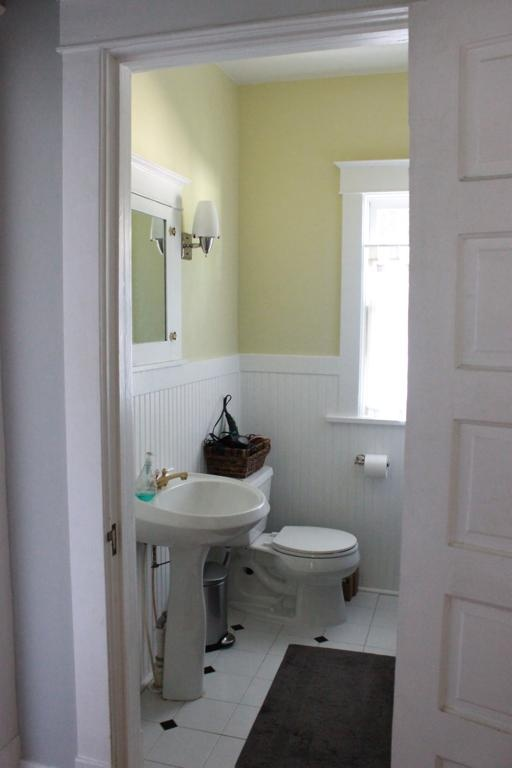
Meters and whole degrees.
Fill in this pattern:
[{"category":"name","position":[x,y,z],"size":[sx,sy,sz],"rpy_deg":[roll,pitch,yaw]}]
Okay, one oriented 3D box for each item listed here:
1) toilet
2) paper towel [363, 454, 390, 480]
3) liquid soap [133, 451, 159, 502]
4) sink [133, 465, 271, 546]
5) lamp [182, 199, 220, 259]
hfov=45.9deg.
[{"category":"toilet","position":[0.238,0.738,3.083],"size":[0.625,1.091,0.465],"rpy_deg":[0,5,19]},{"category":"paper towel","position":[0.597,0.394,2.990],"size":[0.095,0.134,0.095],"rpy_deg":[-1,-1,15]},{"category":"liquid soap","position":[-0.383,0.314,2.093],"size":[0.070,0.158,0.182],"rpy_deg":[0,4,-8]},{"category":"sink","position":[-0.176,0.464,2.136],"size":[0.421,0.191,0.444],"rpy_deg":[1,4,10]},{"category":"lamp","position":[-0.247,-0.655,2.601],"size":[0.123,0.297,0.117],"rpy_deg":[6,10,7]}]
